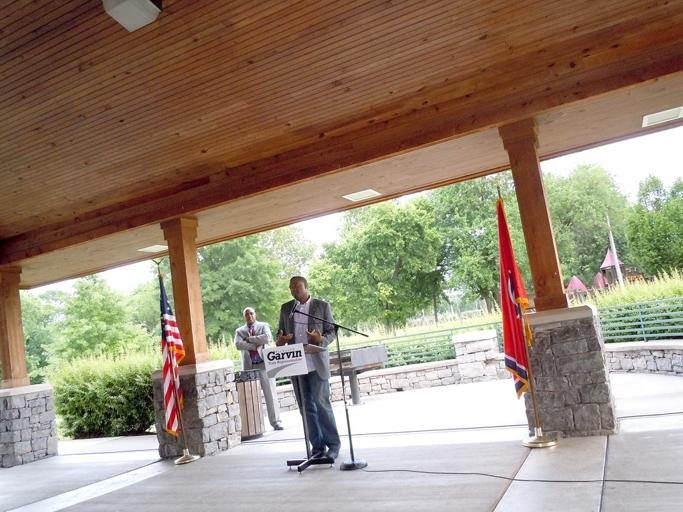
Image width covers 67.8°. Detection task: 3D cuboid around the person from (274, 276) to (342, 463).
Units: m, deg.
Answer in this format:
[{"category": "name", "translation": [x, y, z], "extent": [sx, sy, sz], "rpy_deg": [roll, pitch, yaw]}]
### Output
[{"category": "person", "translation": [-0.354, 1.365, 6.236], "extent": [0.879, 1.999, 0.627], "rpy_deg": [-17, -5, 40]}]

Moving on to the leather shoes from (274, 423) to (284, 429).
[{"category": "leather shoes", "translation": [-1.061, 2.927, 8.747], "extent": [0.112, 0.045, 0.142], "rpy_deg": [1, -7, 2]}]
